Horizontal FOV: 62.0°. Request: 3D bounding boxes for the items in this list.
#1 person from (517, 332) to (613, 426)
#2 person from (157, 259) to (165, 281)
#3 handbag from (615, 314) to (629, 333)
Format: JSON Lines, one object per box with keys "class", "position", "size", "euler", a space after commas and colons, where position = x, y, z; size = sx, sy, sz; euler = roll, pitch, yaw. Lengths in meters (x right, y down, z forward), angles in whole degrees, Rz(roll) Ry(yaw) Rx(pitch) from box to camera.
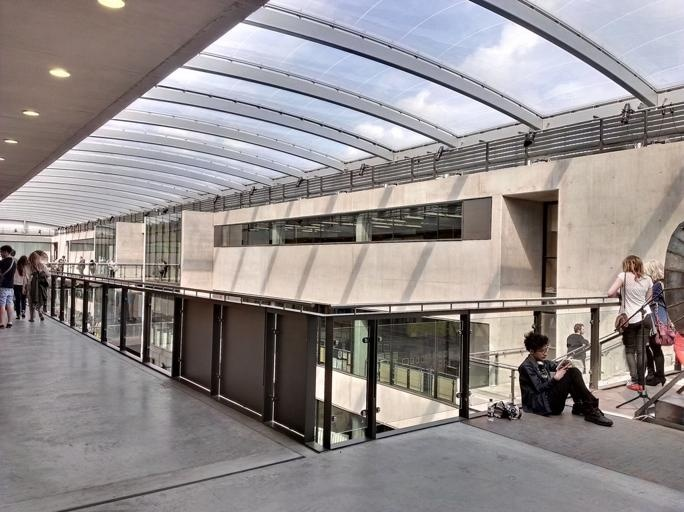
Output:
{"class": "person", "position": [3.668, 1.940, 9.250], "size": [1.442, 1.274, 0.851], "euler": [-3, -1, 39]}
{"class": "person", "position": [-12.297, 0.930, 38.867], "size": [0.319, 1.320, 1.271], "euler": [-1, 8, -23]}
{"class": "handbag", "position": [5.141, 1.234, 10.427], "size": [0.188, 0.419, 0.346], "euler": [4, 8, 13]}
